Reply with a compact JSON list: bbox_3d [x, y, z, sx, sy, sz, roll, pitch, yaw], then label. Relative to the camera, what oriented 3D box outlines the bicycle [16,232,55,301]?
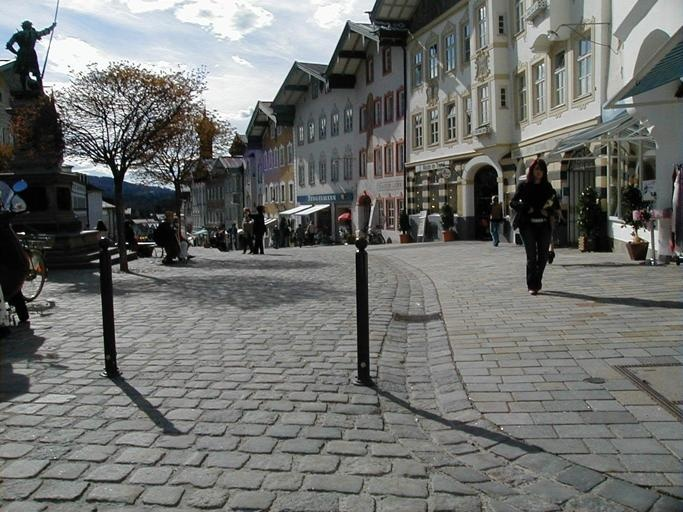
[{"bbox_3d":[-5.444,0.208,10.217,0.399,1.238,0.976,-3,5,-29],"label":"bicycle"}]

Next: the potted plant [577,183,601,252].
[{"bbox_3d":[7.696,-1.142,17.904,0.697,1.974,0.560,0,4,16],"label":"potted plant"}]

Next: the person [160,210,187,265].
[{"bbox_3d":[-5.649,-0.676,19.844,0.959,1.764,0.759,-2,25,4],"label":"person"}]

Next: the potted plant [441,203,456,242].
[{"bbox_3d":[5.888,-1.857,31.761,0.758,1.996,0.454,0,4,9],"label":"potted plant"}]

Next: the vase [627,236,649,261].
[{"bbox_3d":[7.285,-0.169,14.414,0.549,0.596,0.514,0,-5,-6],"label":"vase"}]

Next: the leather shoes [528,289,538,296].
[{"bbox_3d":[3.177,0.610,9.554,0.079,0.104,0.224,0,-5,-6],"label":"leather shoes"}]

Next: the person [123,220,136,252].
[{"bbox_3d":[-9.641,-0.972,26.484,0.499,1.338,3.365,-2,5,-20],"label":"person"}]

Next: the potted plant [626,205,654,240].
[{"bbox_3d":[7.174,-0.767,13.889,0.519,0.796,1.143,0,5,14],"label":"potted plant"}]

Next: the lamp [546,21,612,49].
[{"bbox_3d":[8.176,-7.728,19.700,0.576,0.924,2.664,-9,13,-25],"label":"lamp"}]

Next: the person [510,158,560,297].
[{"bbox_3d":[3.255,-0.517,9.690,0.725,2.268,0.788,1,4,21],"label":"person"}]

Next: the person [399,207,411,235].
[{"bbox_3d":[4.005,-2.153,36.361,0.709,1.475,0.379,-1,4,4],"label":"person"}]

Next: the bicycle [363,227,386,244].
[{"bbox_3d":[2.395,-1.354,39.855,1.739,1.148,1.115,-3,4,19],"label":"bicycle"}]
